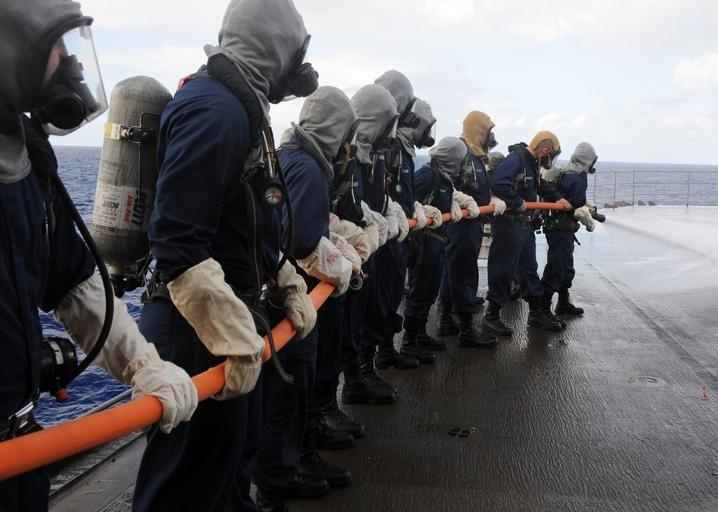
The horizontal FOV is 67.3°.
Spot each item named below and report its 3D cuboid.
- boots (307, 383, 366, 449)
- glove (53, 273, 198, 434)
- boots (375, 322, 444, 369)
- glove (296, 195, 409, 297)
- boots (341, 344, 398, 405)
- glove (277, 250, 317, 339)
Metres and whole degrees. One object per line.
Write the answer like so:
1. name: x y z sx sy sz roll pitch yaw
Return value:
1. boots: -0.068 1.213 4.078 0.636 0.448 0.210 -1 13 -9
2. glove: -0.757 0.308 2.022 0.451 0.614 0.205 -20 4 25
3. boots: 0.499 0.928 5.503 0.771 0.540 0.255 -12 20 -20
4. glove: -0.048 -0.013 3.443 0.251 0.446 0.691 29 -1 14
5. boots: 0.047 1.072 4.813 0.635 0.611 0.288 -1 3 -8
6. glove: -0.309 0.193 2.632 0.203 0.359 0.116 -16 -16 -36
